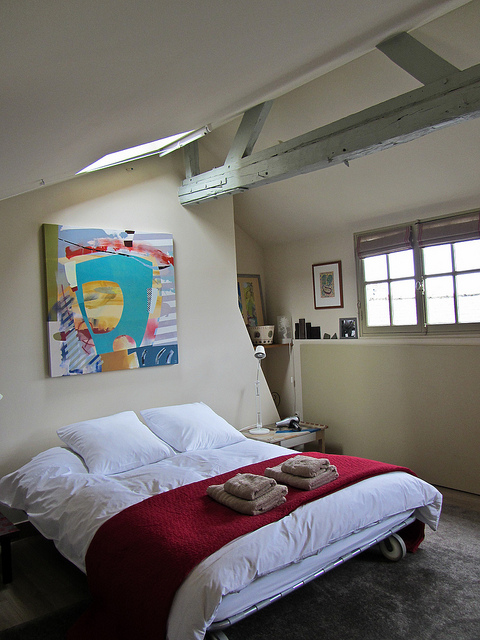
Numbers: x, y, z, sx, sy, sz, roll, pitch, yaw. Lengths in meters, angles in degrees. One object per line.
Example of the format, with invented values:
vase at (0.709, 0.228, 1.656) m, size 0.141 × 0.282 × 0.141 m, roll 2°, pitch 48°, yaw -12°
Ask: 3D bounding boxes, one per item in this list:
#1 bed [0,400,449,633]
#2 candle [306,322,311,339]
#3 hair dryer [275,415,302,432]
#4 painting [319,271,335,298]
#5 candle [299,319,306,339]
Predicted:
bed at (-0.398, 0.925, 2.361) m, size 1.349 × 0.462 × 1.564 m, roll -2°, pitch 2°, yaw -41°
candle at (0.754, 0.115, 4.892) m, size 0.053 × 0.161 × 0.065 m, roll -2°, pitch 5°, yaw 18°
hair dryer at (0.431, 0.982, 4.260) m, size 0.311 × 0.119 × 0.093 m, roll 5°, pitch 0°, yaw 14°
painting at (0.933, -0.386, 4.752) m, size 0.027 × 0.362 × 0.258 m, roll 6°, pitch -9°, yaw -42°
candle at (0.693, 0.099, 4.914) m, size 0.069 × 0.213 × 0.075 m, roll -3°, pitch 5°, yaw 3°
